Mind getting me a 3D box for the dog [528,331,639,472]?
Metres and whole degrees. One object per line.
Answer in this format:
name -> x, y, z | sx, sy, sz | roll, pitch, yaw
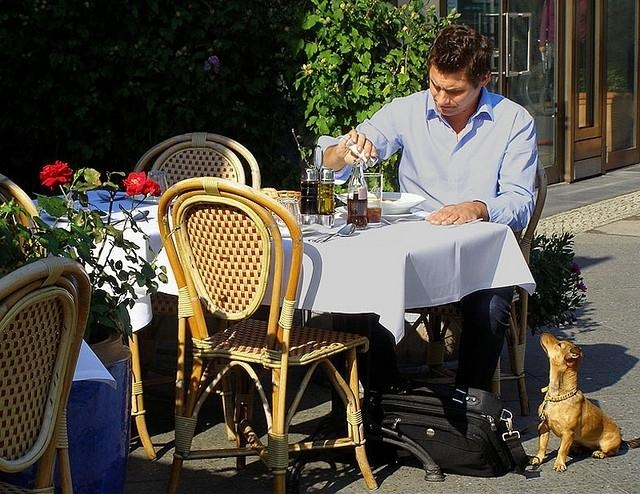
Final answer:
dog -> 1.078, 0.642, 3.056 | 0.456, 0.548, 0.218 | -6, 7, -20
